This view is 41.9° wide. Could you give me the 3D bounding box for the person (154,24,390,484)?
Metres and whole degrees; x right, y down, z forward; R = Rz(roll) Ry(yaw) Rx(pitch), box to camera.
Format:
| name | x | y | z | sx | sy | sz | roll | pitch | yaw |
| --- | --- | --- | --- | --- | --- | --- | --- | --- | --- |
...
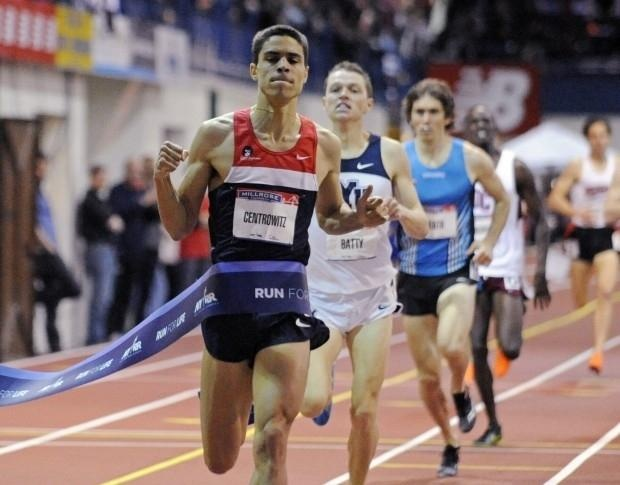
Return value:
| name | x | y | z | sx | sy | sz | roll | pitch | yaw |
| --- | --- | --- | --- | --- | --- | --- | --- | --- | --- |
| person | -0.210 | 0.084 | 3.813 | 1.026 | 2.228 | 0.675 | 0 | 6 | -13 |
